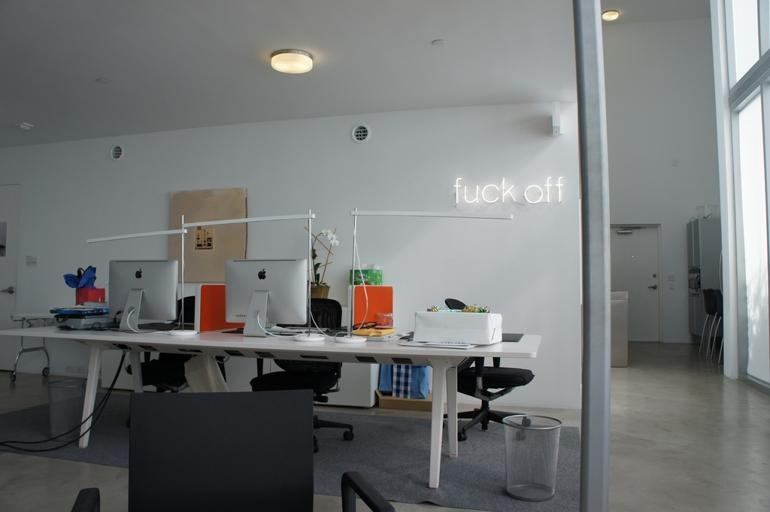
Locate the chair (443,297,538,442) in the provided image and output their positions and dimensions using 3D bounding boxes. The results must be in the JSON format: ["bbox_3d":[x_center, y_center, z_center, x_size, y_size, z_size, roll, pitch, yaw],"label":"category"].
[{"bbox_3d":[1.072,1.189,5.936,0.811,1.108,0.818,1,-5,23],"label":"chair"}]

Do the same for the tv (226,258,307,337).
[{"bbox_3d":[-1.107,0.329,5.341,0.777,0.607,0.152,1,-2,6],"label":"tv"}]

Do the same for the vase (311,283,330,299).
[{"bbox_3d":[-0.780,0.415,6.894,0.171,0.126,0.174,2,-4,-14],"label":"vase"}]

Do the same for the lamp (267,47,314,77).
[{"bbox_3d":[-0.996,-2.032,6.251,0.480,0.169,0.432,0,-5,-10],"label":"lamp"}]

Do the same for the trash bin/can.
[{"bbox_3d":[1.197,1.714,5.100,0.574,0.663,0.605,-1,-6,18],"label":"trash bin/can"}]

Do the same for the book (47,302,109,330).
[{"bbox_3d":[-2.981,0.602,5.754,0.393,0.137,0.376,1,2,16],"label":"book"}]

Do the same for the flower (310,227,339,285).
[{"bbox_3d":[-0.745,0.003,7.236,0.340,0.719,0.554,0,-5,-6],"label":"flower"}]

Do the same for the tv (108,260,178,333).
[{"bbox_3d":[-2.328,0.344,5.511,0.697,0.633,0.238,1,-2,7],"label":"tv"}]

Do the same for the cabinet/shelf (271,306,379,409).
[{"bbox_3d":[-0.815,1.260,7.109,0.871,1.440,0.959,5,-20,-38],"label":"cabinet/shelf"}]

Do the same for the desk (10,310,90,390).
[{"bbox_3d":[-4.942,1.271,8.233,0.749,0.858,0.762,-2,-7,7],"label":"desk"}]
